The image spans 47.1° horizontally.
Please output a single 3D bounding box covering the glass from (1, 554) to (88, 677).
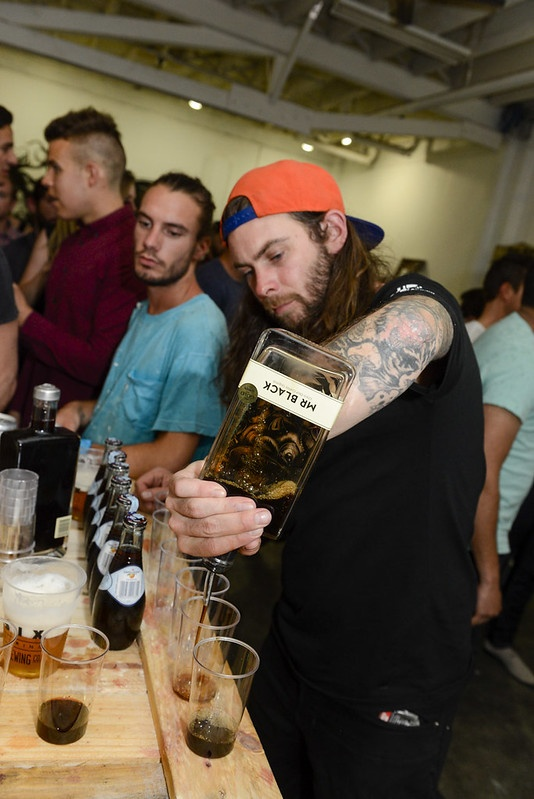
[{"bbox_3d":[-0.291,0.281,0.787,0.094,0.115,0.099,13,24,-7],"label":"glass"}]

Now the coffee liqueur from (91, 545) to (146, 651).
[{"bbox_3d":[-0.222,0.301,0.923,0.071,0.160,0.065,3,24,-27],"label":"coffee liqueur"}]

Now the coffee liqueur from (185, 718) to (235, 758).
[{"bbox_3d":[-0.069,0.411,0.745,0.053,0.021,0.052,7,9,7],"label":"coffee liqueur"}]

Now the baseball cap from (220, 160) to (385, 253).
[{"bbox_3d":[0.088,-0.343,1.256,0.331,0.155,0.209,-2,2,-22],"label":"baseball cap"}]

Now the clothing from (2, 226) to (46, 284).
[{"bbox_3d":[-0.951,-0.557,2.343,0.176,0.166,0.043,-1,29,-41],"label":"clothing"}]

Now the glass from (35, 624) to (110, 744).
[{"bbox_3d":[-0.237,0.346,0.736,0.094,0.128,0.090,14,16,-7],"label":"glass"}]
